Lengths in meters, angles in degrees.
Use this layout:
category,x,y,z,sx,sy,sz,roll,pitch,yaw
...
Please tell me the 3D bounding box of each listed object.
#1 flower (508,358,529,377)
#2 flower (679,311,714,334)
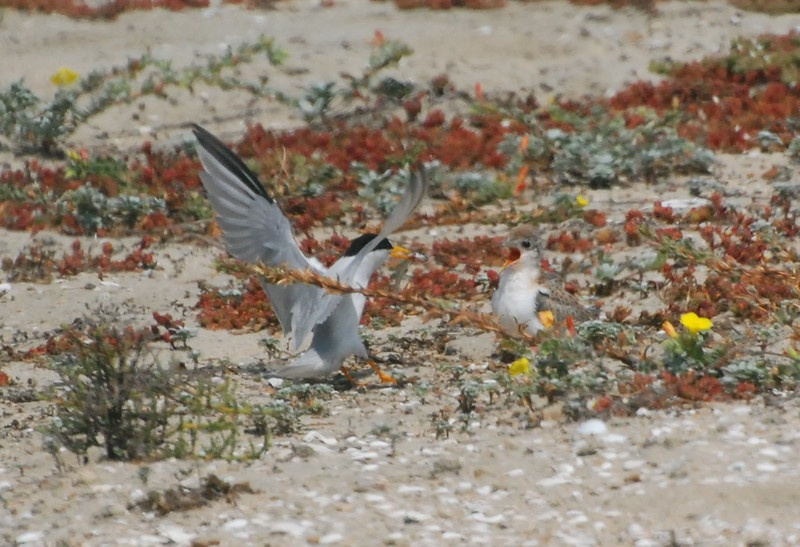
category,x,y,z,sx,sy,sz,roll,pitch,yaw
flower,1.534,1.172,15.894,0.261,0.171,0.243,-30,10,11
flower,3.713,0.617,15.505,0.357,0.156,0.352,-2,5,-44
